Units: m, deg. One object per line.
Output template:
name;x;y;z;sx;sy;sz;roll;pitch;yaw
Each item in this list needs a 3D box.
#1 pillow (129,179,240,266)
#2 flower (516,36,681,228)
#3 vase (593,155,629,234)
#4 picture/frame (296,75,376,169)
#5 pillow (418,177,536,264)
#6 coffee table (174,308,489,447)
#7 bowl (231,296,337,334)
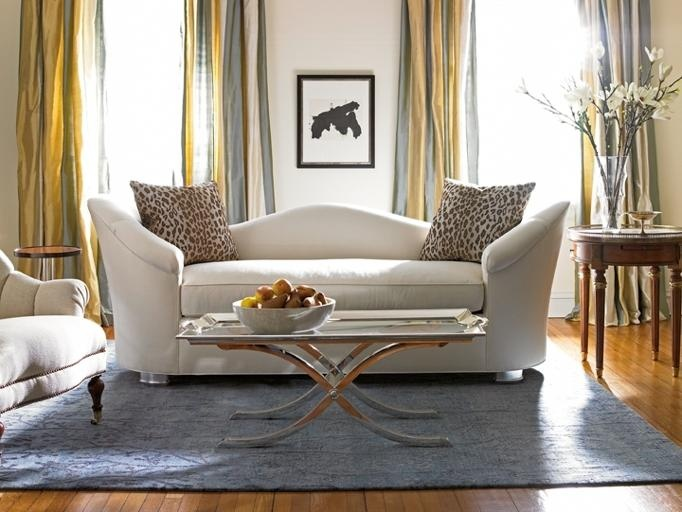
pillow;-0.993;-0.203;3.654;0.272;0.535;0.627;-1;3;40
flower;1.836;-0.876;4.005;1.191;1.861;0.671;2;5;5
vase;1.654;-0.396;3.585;0.165;0.440;0.150;5;11;25
picture/frame;-0.041;-1.116;4.830;0.632;0.753;0.115;1;10;5
pillow;0.850;-0.222;3.807;0.670;0.544;0.486;2;5;-11
coffee table;-0.021;0.492;2.748;1.282;0.705;0.799;-1;10;-2
bowl;-0.218;0.250;2.361;0.323;0.136;0.319;3;5;0
